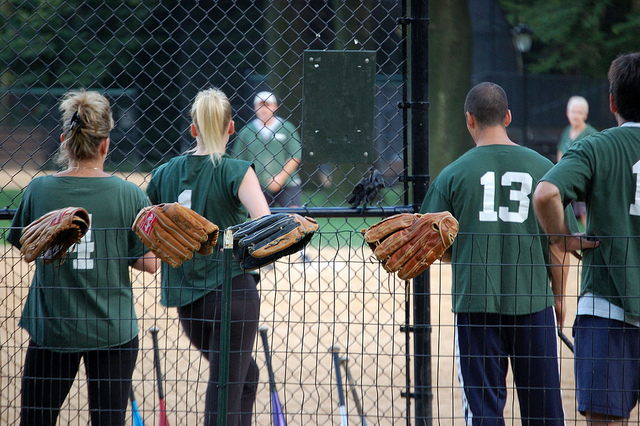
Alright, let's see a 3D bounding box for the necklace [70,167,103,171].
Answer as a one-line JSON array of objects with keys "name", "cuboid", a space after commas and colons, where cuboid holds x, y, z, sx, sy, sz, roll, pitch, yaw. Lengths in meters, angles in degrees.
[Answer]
[{"name": "necklace", "cuboid": [-4.392, -0.845, 26.686, 0.572, 0.057, 0.098, 2, 0, -1]}]
